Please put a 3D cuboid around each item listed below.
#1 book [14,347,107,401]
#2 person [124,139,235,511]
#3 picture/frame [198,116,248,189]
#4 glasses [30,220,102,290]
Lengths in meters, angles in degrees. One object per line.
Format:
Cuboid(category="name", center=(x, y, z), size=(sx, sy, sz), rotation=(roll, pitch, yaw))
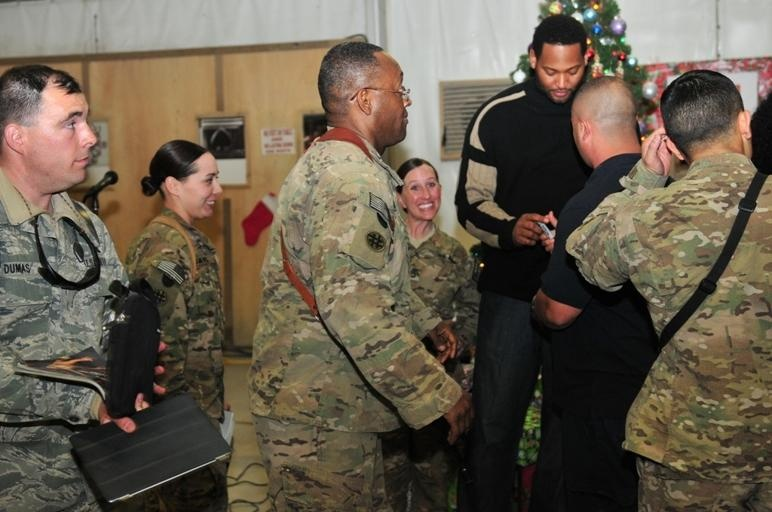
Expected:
Cuboid(category="book", center=(-1.227, 0.453, 2.574), size=(0.367, 0.119, 0.375), rotation=(-4, 13, -16))
Cuboid(category="person", center=(-0.956, 0.455, 3.839), size=(0.729, 2.081, 0.673), rotation=(1, 17, -2))
Cuboid(category="picture/frame", center=(-1.600, -1.050, 6.762), size=(0.496, 0.687, 0.024), rotation=(-1, 4, 7))
Cuboid(category="glasses", center=(-1.282, -0.005, 2.714), size=(0.067, 0.273, 0.224), rotation=(-38, -11, 39))
